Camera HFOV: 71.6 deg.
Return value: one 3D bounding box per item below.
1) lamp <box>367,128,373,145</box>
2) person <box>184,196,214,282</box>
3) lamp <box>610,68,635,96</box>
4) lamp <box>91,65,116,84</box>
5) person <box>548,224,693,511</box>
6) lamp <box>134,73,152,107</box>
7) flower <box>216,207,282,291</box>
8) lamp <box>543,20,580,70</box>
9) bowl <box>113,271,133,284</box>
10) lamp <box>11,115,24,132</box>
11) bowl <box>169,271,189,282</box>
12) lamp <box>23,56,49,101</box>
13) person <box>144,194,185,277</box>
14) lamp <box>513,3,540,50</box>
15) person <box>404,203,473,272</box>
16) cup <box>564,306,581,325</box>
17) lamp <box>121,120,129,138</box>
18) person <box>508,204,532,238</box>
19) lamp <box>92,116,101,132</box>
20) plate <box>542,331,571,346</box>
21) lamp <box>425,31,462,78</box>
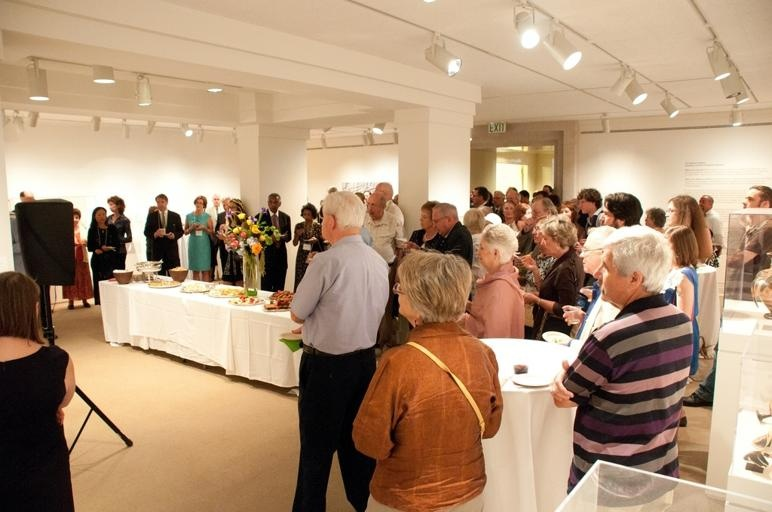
[{"bbox_3d":[-0.372,-2.673,11.964,0.102,0.357,0.257,7,5,34],"label":"lamp"},{"bbox_3d":[-3.284,-0.290,9.433,0.464,1.500,0.706,-3,7,-19],"label":"person"},{"bbox_3d":[2.753,-2.062,6.268,0.224,0.369,0.765,2,7,24],"label":"lamp"},{"bbox_3d":[-2.773,-1.796,5.262,0.169,0.122,0.156,-6,8,-35],"label":"lamp"},{"bbox_3d":[1.275,0.583,2.913,0.691,1.444,0.237,1,7,19],"label":"person"},{"bbox_3d":[-2.649,-1.834,5.850,0.132,0.349,0.291,-4,7,-26],"label":"lamp"},{"bbox_3d":[-1.539,-0.028,5.980,0.458,0.886,0.768,-3,7,-17],"label":"flower"},{"bbox_3d":[1.659,-2.039,5.102,0.217,0.227,0.508,-29,41,6],"label":"lamp"},{"bbox_3d":[-3.364,0.272,6.875,0.185,0.124,0.186,-1,-3,0],"label":"bowl"},{"bbox_3d":[-6.548,-2.355,9.537,0.070,0.269,0.271,9,17,6],"label":"lamp"},{"bbox_3d":[-2.684,0.244,6.994,0.184,0.141,0.189,-1,-1,0],"label":"bowl"},{"bbox_3d":[-3.555,-1.809,5.473,0.151,0.367,0.449,-5,8,-33],"label":"lamp"},{"bbox_3d":[-3.874,-0.173,9.291,0.601,1.714,0.528,2,19,-19],"label":"person"},{"bbox_3d":[1.202,-1.988,4.636,0.194,0.369,0.274,0,7,7],"label":"lamp"},{"bbox_3d":[0.650,0.050,6.076,0.600,1.191,0.666,2,-5,-24],"label":"person"},{"bbox_3d":[1.349,0.432,3.926,0.126,0.140,0.118,-1,1,0],"label":"cup"},{"bbox_3d":[-5.061,-2.488,10.441,0.084,0.370,0.928,-4,7,-27],"label":"lamp"},{"bbox_3d":[1.958,-0.484,7.674,0.292,0.269,0.827,1,31,24],"label":"person"},{"bbox_3d":[-5.040,-2.318,9.320,0.078,0.237,0.845,-5,8,-30],"label":"lamp"},{"bbox_3d":[1.259,0.612,3.987,0.128,0.033,0.131,-5,20,-14],"label":"plate"},{"bbox_3d":[0.577,-2.072,5.435,0.405,0.344,0.248,40,67,19],"label":"lamp"}]
